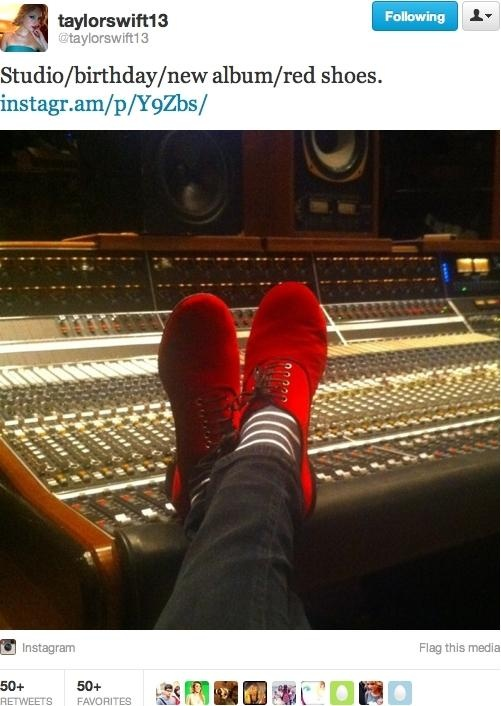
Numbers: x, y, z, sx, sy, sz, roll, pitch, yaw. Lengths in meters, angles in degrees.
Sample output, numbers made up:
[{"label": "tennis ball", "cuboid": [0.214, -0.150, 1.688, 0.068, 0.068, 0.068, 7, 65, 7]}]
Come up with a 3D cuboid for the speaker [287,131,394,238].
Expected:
[{"label": "speaker", "cuboid": [0.206, -0.452, 1.309, 0.222, 0.289, 0.160, 2, 4, -10]}]

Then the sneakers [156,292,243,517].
[{"label": "sneakers", "cuboid": [-0.075, 0.075, 0.759, 0.103, 0.307, 0.119, 4, -15, -14]}]

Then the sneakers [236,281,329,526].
[{"label": "sneakers", "cuboid": [0.062, 0.005, 0.897, 0.118, 0.365, 0.153, -3, -28, 13]}]
